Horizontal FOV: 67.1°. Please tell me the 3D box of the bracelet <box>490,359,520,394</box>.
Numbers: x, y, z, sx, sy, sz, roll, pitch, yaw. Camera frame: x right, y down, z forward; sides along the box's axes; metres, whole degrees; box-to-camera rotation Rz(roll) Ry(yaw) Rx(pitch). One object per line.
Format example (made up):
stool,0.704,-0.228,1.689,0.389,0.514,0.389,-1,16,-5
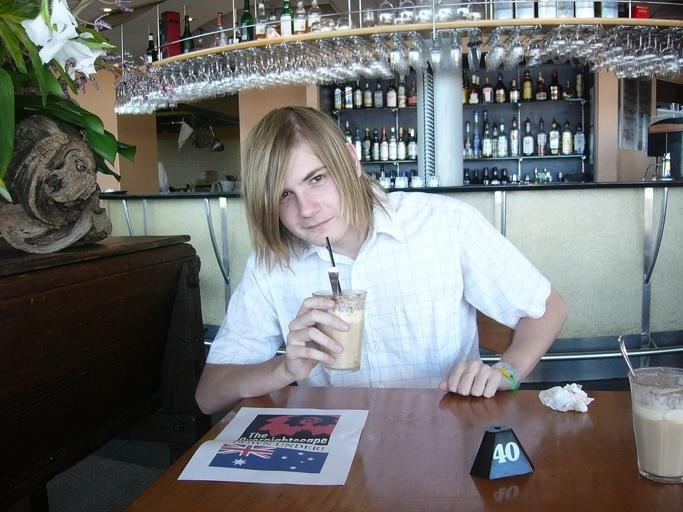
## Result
bracelet,0.402,0.296,1.284,0.055,0.032,0.074,25,5,-22
